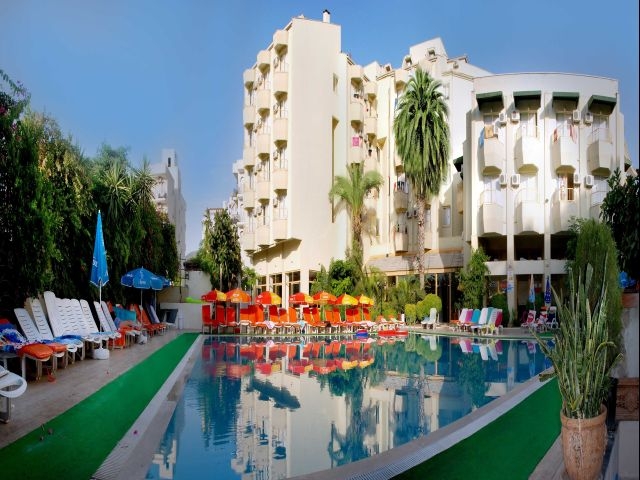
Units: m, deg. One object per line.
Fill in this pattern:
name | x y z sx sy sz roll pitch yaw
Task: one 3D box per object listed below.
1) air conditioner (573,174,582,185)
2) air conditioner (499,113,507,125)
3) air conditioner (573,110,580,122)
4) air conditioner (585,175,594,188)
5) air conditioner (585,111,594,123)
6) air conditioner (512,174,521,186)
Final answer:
air conditioner | 15.603 -3.662 33.925 0.621 0.686 0.267 -3 -2 -11
air conditioner | 11.286 -7.480 34.505 0.527 0.602 0.352 -2 -2 -22
air conditioner | 15.621 -7.502 34.109 0.642 0.686 0.292 -2 -2 -21
air conditioner | 16.269 -3.517 33.899 0.506 0.765 0.301 -2 -2 -13
air conditioner | 16.379 -7.442 34.184 0.688 0.639 0.397 -2 -2 -24
air conditioner | 11.871 -3.584 34.004 0.541 0.641 0.477 -3 -3 1
